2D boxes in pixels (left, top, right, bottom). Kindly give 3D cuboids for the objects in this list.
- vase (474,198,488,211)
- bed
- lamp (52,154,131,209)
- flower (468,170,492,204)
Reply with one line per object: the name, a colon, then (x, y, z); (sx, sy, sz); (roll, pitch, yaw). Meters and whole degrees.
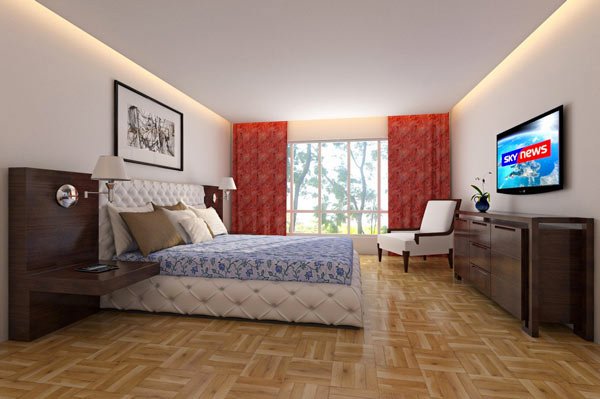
vase: (2.485, 0.066, 5.297); (0.179, 0.227, 0.176); (0, -7, 1)
bed: (-0.706, 0.573, 4.911); (2.542, 1.170, 1.843); (-1, -3, 11)
lamp: (-2.307, -0.208, 4.362); (0.690, 0.562, 0.390); (-2, 0, -21)
flower: (2.722, -0.104, 5.765); (0.258, 0.390, 0.355); (-11, -10, 24)
